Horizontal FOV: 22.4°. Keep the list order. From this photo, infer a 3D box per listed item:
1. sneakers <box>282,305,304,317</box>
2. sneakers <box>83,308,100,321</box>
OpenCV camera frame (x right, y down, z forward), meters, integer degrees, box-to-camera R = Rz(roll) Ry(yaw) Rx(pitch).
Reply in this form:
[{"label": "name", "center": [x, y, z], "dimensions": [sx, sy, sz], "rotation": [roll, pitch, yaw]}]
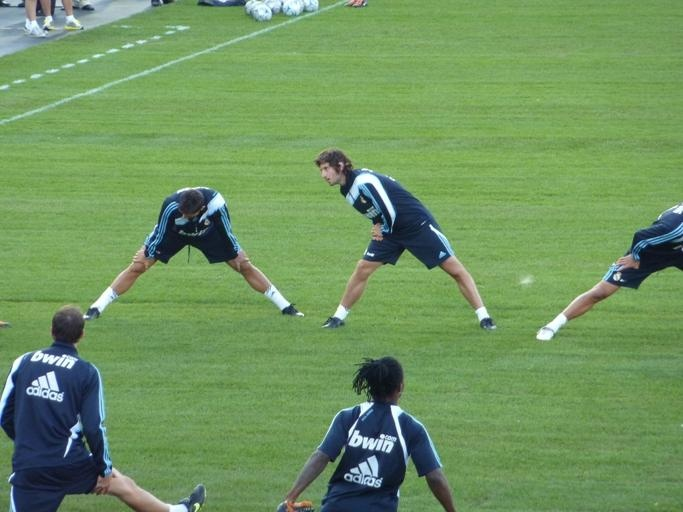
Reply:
[{"label": "sneakers", "center": [-0.733, 0.817, 25.335], "dimensions": [0.401, 0.141, 0.136], "rotation": [3, 8, 6]}, {"label": "sneakers", "center": [-3.640, 0.863, 25.183], "dimensions": [0.237, 0.157, 0.096], "rotation": [-32, -6, -2]}]
